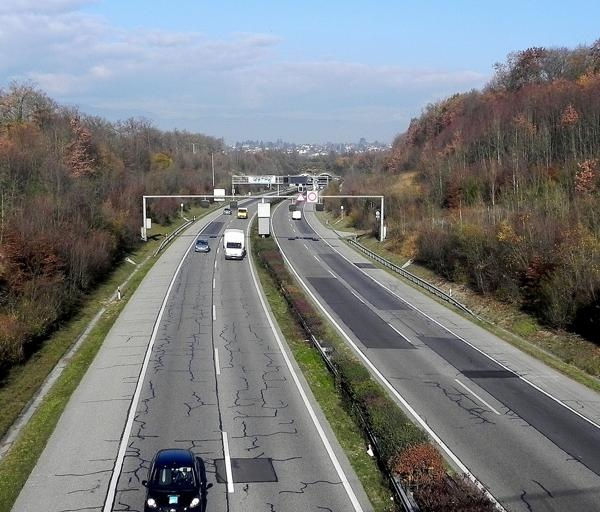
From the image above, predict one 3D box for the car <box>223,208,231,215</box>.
[{"bbox_3d":[-15.069,-9.125,116.652,1.117,1.194,2.205,0,16,-2],"label":"car"}]
